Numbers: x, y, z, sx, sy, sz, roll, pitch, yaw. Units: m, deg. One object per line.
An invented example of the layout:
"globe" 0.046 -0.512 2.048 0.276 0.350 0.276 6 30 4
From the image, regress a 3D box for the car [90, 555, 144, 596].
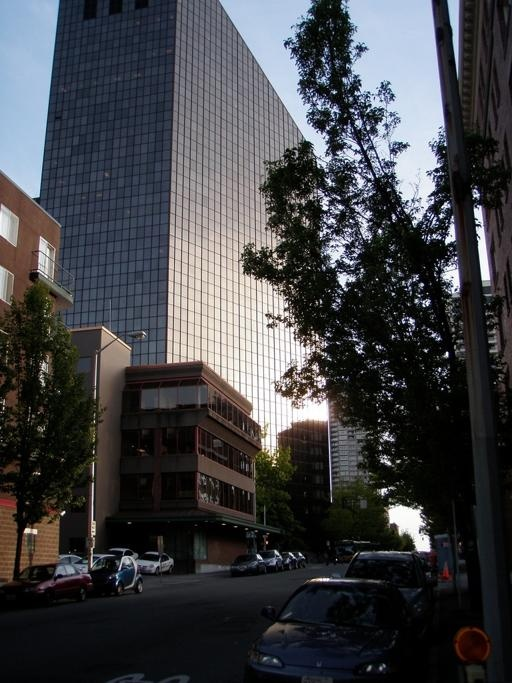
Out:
"car" -5.367 8.730 26.399 1.117 1.019 1.873 -7 -28 7

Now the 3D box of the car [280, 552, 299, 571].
"car" 2.447 16.073 52.063 1.005 0.748 2.248 -7 -29 16

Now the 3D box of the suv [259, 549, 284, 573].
"suv" 0.984 14.457 46.720 1.071 0.865 2.338 -5 -30 7

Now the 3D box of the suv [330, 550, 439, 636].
"suv" 2.295 4.104 11.862 1.404 1.178 3.100 -3 -21 12
